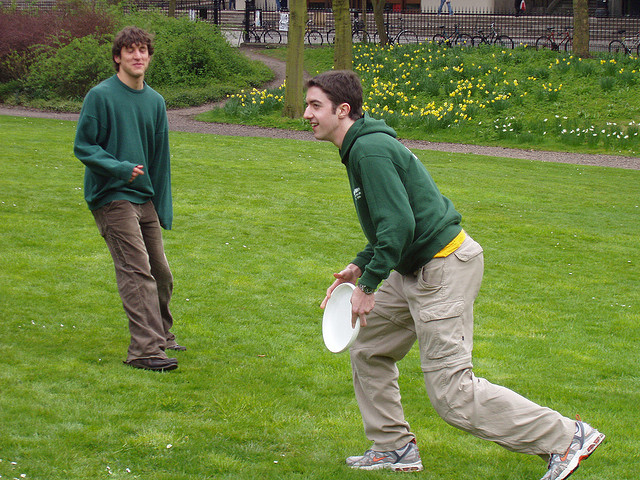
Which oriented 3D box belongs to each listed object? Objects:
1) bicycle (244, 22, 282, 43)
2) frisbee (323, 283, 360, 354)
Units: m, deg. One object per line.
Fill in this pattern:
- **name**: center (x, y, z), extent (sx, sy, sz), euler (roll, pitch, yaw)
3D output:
- **bicycle**: center (-2.546, -9.177, 48.783), extent (1.617, 0.919, 0.795), euler (0, 14, 7)
- **frisbee**: center (0.101, 0.816, 11.477), extent (0.111, 0.636, 0.589), euler (17, -39, -29)
